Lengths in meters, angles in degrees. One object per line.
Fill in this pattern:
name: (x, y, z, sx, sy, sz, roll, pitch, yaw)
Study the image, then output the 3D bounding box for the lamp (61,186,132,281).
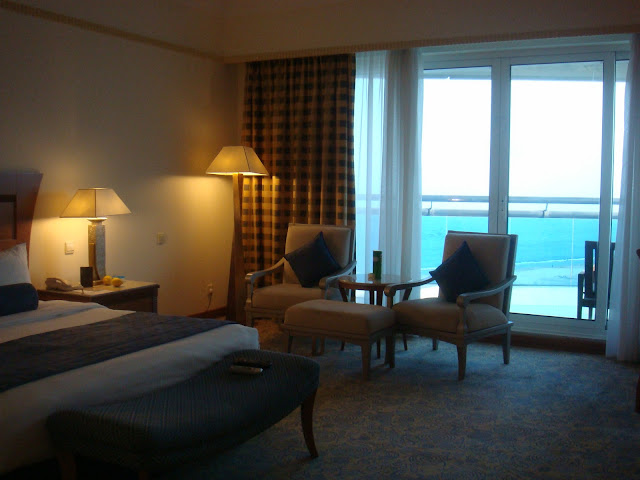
lamp: (-1.943, -0.021, 4.776, 0.548, 0.793, 0.538, -1, -2, -43)

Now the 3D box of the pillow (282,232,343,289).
pillow: (-0.070, 0.224, 5.303, 0.465, 0.510, 0.153, -36, -20, 16)

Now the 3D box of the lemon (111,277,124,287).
lemon: (-1.744, 0.365, 4.716, 0.070, 0.073, 0.077, 5, 7, 32)

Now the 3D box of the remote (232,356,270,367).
remote: (-0.413, 0.731, 3.284, 0.152, 0.040, 0.088, 1, 3, 10)

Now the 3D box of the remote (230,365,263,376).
remote: (-0.437, 0.755, 3.200, 0.234, 0.068, 0.035, 1, -14, 9)

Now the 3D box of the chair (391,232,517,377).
chair: (1.183, 0.501, 4.855, 0.892, 1.159, 0.873, 0, 1, -35)

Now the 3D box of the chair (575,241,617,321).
chair: (2.633, 0.393, 5.399, 0.178, 0.760, 0.197, 4, 11, 21)

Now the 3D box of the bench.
bench: (-0.595, 1.071, 3.002, 0.444, 0.612, 1.313, 10, 14, 43)

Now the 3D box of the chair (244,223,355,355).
chair: (-0.202, 0.418, 5.547, 1.013, 1.488, 0.995, 2, 0, 26)

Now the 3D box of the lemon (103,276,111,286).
lemon: (-1.834, 0.355, 4.723, 0.067, 0.069, 0.068, 1, 7, -20)
